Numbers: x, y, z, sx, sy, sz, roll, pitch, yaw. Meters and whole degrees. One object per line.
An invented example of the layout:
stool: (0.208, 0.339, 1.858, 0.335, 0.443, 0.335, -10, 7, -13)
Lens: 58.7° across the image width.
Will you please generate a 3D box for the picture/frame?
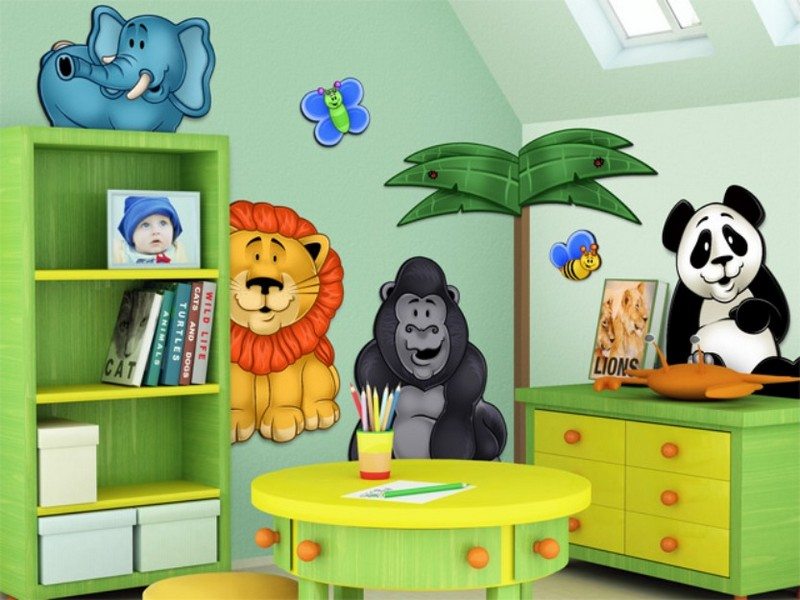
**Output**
picture/frame: (-0.975, -0.276, 2.815, 0.312, 0.331, 0.165, -5, 11, -37)
